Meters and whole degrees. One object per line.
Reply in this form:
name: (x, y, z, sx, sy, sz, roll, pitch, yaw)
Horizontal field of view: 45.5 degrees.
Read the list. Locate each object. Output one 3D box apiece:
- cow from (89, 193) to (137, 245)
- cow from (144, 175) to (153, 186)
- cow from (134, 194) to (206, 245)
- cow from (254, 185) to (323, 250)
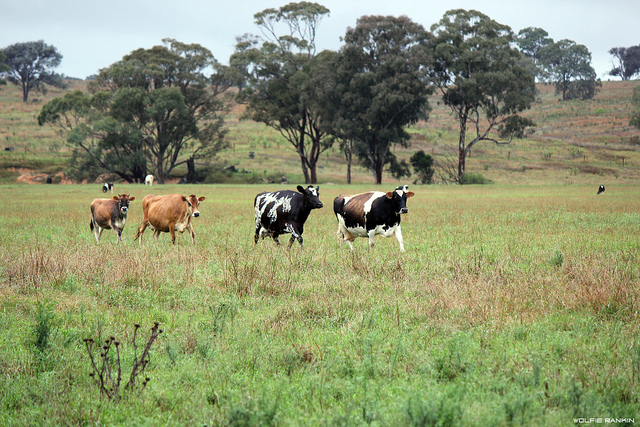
cow: (-13.449, 0.266, 48.976, 2.413, 2.945, 2.819, -1, 3, -18)
cow: (-20.462, -4.041, 91.456, 0.763, 1.112, 2.319, 0, 3, -16)
cow: (-9.585, 0.444, 49.316, 5.724, 3.404, 2.090, 1, 3, 43)
cow: (-2.055, 0.448, 48.716, 6.033, 4.116, 2.134, -2, -2, 44)
